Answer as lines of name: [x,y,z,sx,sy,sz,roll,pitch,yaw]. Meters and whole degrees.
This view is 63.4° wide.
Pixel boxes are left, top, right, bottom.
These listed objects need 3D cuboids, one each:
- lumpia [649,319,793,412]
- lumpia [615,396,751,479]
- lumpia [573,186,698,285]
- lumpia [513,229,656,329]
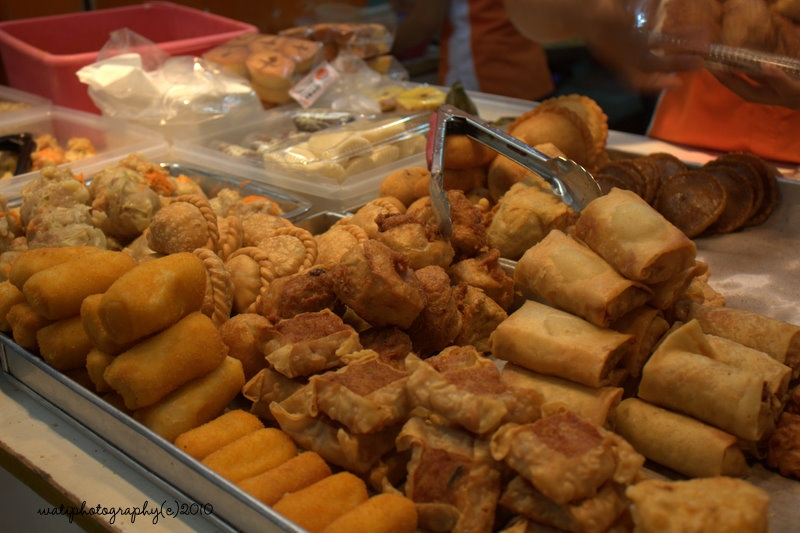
lumpia: [1.033,0.312,2.079,0.322,0.122,0.278,21,43,28]
lumpia: [0.862,0.520,2.025,0.358,0.137,0.211,25,31,38]
lumpia: [0.767,-0.105,2.128,0.255,0.135,0.362,-29,47,-15]
lumpia: [0.621,0.032,2.222,0.276,0.135,0.400,-29,36,-23]
